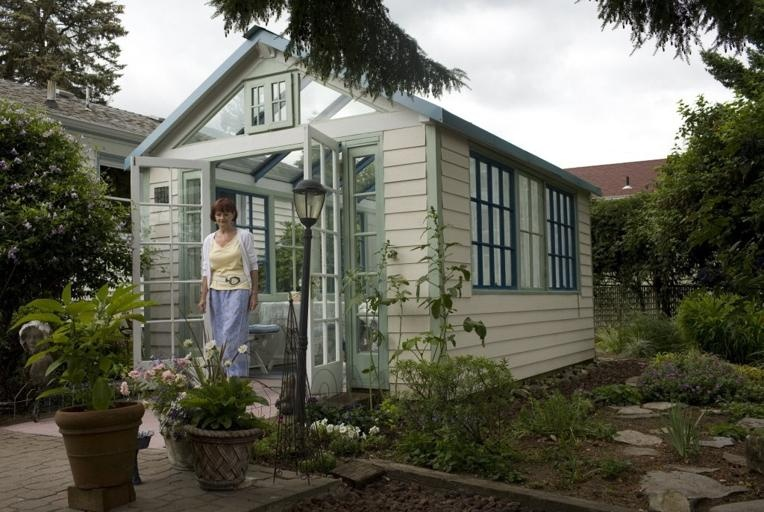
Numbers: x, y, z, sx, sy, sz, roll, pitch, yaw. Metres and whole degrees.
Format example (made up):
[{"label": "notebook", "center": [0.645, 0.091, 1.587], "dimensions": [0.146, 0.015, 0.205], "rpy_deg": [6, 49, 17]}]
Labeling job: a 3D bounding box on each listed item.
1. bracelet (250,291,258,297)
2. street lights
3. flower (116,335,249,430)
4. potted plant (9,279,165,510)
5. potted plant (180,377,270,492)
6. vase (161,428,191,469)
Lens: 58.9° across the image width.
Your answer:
[{"label": "bracelet", "center": [-1.386, 0.406, 7.357], "dimensions": [0.092, 0.060, 0.054], "rpy_deg": [1, -21, 30]}, {"label": "street lights", "center": [-0.712, 0.484, 6.559], "dimensions": [0.392, 2.537, 0.297], "rpy_deg": [0, -7, -23]}, {"label": "flower", "center": [-1.754, 1.155, 6.182], "dimensions": [1.092, 0.772, 0.795], "rpy_deg": [2, -9, -20]}, {"label": "potted plant", "center": [-2.793, 1.194, 6.439], "dimensions": [1.021, 1.998, 2.536], "rpy_deg": [0, -7, -24]}, {"label": "potted plant", "center": [-1.390, 1.518, 5.891], "dimensions": [0.826, 1.012, 0.899], "rpy_deg": [0, -9, 3]}, {"label": "vase", "center": [-1.899, 1.773, 6.320], "dimensions": [0.306, 0.246, 0.333], "rpy_deg": [1, 0, -1]}]
